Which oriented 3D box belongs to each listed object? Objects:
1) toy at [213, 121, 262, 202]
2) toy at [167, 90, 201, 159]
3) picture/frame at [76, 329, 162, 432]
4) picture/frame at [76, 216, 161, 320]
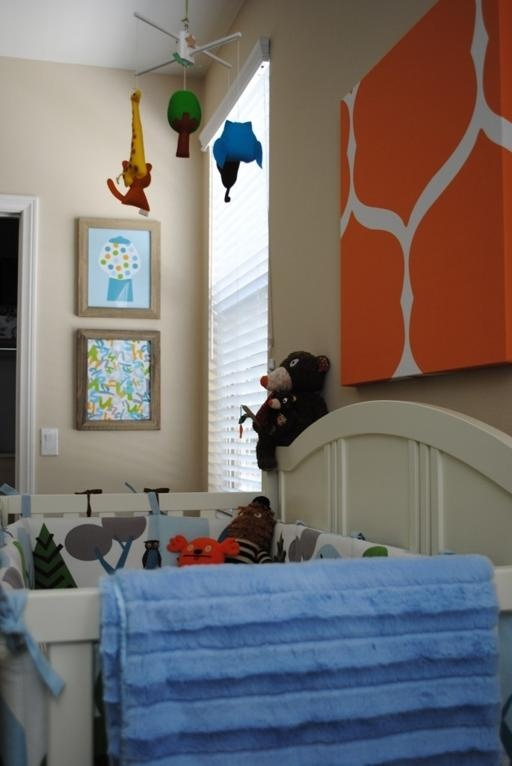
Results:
[{"bbox_3d":[-0.047,-0.608,2.014,0.142,0.220,0.136,1,15,2],"label":"toy"},{"bbox_3d":[-0.205,-0.740,2.112,0.090,0.208,0.088,5,-12,-34],"label":"toy"},{"bbox_3d":[-0.545,-0.015,2.947,0.337,0.467,0.032,0,24,-11],"label":"picture/frame"},{"bbox_3d":[-0.569,-0.460,2.962,0.364,0.485,0.028,1,-3,-26],"label":"picture/frame"}]
